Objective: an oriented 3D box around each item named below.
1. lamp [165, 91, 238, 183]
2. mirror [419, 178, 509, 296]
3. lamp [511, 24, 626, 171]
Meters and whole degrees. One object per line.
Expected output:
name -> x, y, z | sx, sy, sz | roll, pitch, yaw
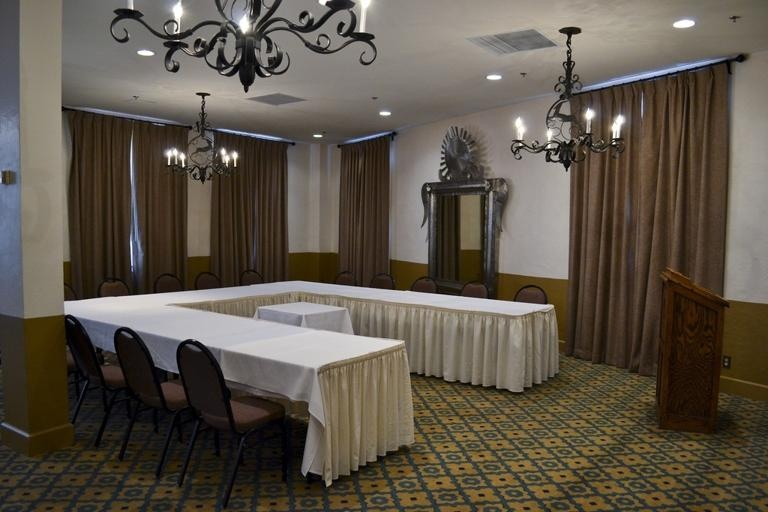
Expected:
lamp -> -2.799, -1.847, 8.748 | 0.960, 1.354, 1.017 | 2, 13, -9
mirror -> 1.354, -0.311, 9.188 | 1.673, 2.158, 0.343 | 5, 8, 44
lamp -> 2.215, -1.694, 7.248 | 1.437, 1.885, 1.514 | -3, -6, 36
